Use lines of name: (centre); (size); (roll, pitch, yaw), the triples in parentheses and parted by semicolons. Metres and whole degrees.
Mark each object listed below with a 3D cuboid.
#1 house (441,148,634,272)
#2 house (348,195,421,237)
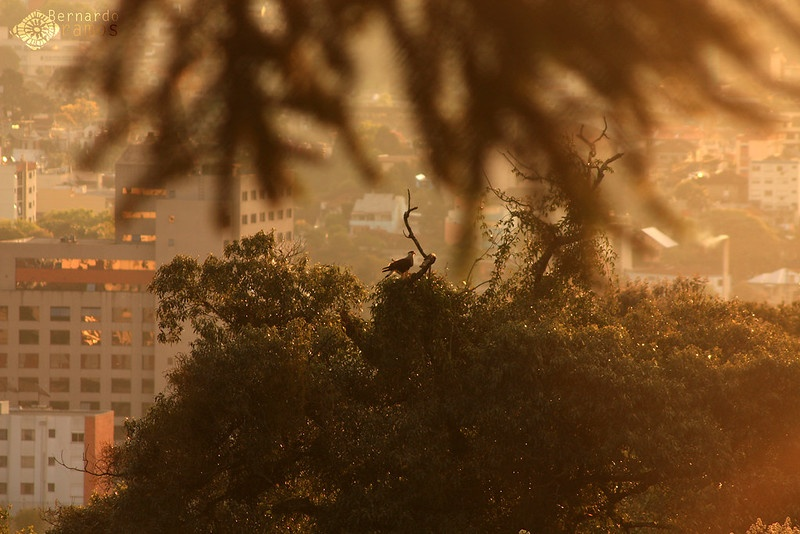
house: (3.673, -1.984, 58.672); (3.795, 3.916, 2.049); (-25, -13, 0)
house: (-0.621, -1.617, 58.985); (1.352, 0.870, 1.377); (1, 8, 22)
